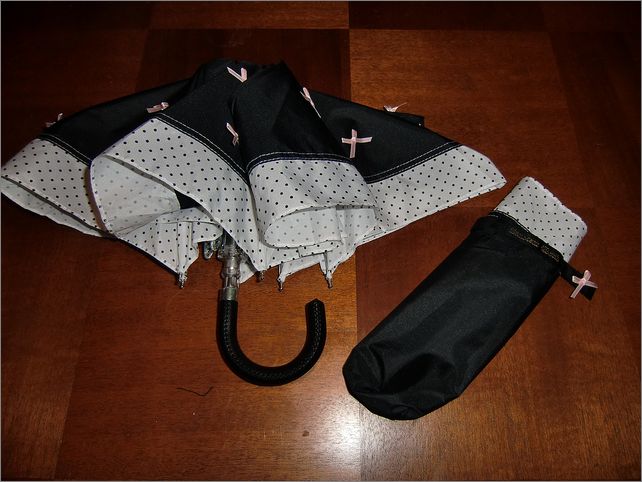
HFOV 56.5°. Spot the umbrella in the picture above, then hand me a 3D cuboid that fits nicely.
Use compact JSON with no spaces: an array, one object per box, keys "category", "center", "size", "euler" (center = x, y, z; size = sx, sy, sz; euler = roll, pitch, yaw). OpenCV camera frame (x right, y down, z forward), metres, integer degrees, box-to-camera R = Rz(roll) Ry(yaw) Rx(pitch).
[{"category":"umbrella","center":[-0.168,-0.002,1.495],"size":[0.856,0.314,0.623],"euler":[1,54,-3]}]
